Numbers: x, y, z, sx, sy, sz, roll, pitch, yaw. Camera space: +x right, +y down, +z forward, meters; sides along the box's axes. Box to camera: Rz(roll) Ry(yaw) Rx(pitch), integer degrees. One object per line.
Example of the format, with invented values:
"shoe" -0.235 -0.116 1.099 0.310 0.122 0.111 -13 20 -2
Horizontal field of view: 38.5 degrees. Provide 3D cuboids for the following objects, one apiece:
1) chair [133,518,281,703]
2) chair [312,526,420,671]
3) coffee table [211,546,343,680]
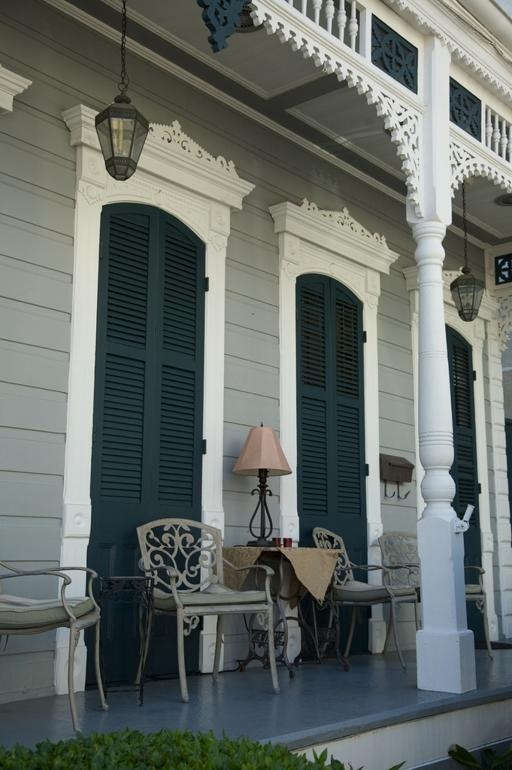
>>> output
"chair" -0.228 1.024 3.491 0.564 0.851 0.604 1 -17 -16
"chair" 0.736 1.321 4.693 0.617 0.875 0.631 -3 -16 6
"coffee table" 0.190 1.209 4.122 0.640 0.607 0.713 0 -26 4
